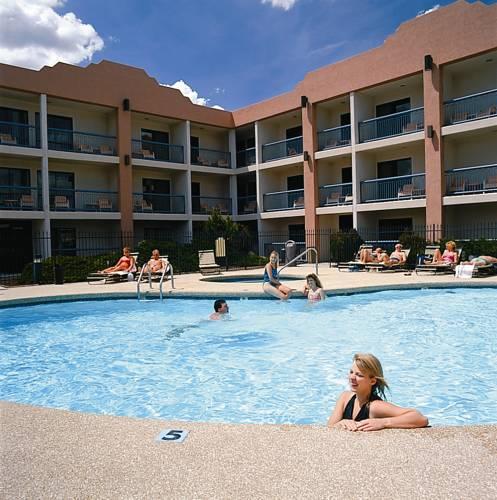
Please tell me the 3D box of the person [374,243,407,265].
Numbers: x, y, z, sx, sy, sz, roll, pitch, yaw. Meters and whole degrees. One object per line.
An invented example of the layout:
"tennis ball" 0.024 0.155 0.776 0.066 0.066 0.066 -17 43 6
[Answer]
"person" 5.548 0.205 17.824 0.605 0.723 1.366 -1 -4 39

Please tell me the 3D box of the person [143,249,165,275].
"person" -2.978 0.462 14.509 0.612 0.519 1.038 -3 18 1

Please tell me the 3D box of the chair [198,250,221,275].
"chair" -1.574 0.534 18.297 0.616 0.712 1.048 -2 2 -12

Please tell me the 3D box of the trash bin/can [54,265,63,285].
"trash bin/can" -6.395 0.844 15.577 0.256 0.602 0.413 -3 4 -26

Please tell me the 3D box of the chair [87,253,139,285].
"chair" -4.654 0.680 15.946 0.830 0.656 1.594 -1 -2 20

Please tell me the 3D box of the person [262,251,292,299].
"person" 0.671 0.609 11.368 0.659 1.139 0.897 -1 4 2

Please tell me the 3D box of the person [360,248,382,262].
"person" 4.635 0.240 17.888 0.547 0.442 0.802 -1 -3 20

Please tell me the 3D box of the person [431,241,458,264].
"person" 6.670 0.147 15.780 0.770 0.958 0.649 11 -4 -2
